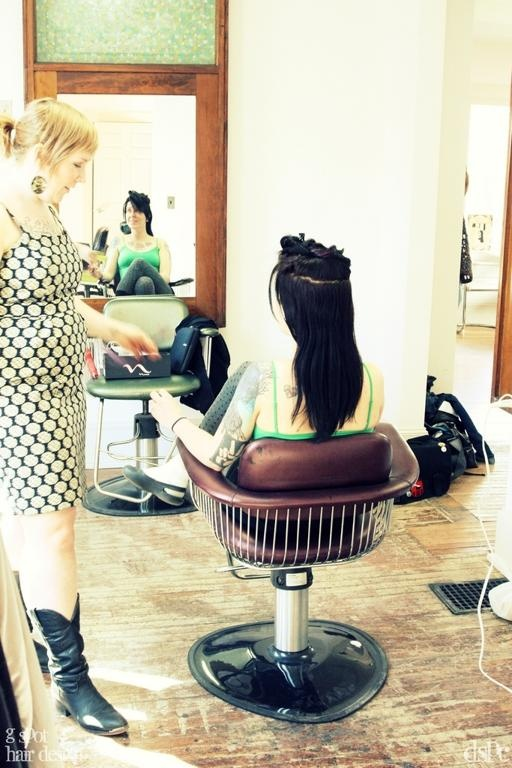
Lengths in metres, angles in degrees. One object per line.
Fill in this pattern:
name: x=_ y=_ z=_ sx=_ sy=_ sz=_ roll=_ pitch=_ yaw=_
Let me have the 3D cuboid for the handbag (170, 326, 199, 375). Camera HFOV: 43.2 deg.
handbag: x=-0.346 y=-0.165 z=3.066 sx=0.065 sy=0.217 sz=0.163 roll=14 pitch=0 yaw=-33

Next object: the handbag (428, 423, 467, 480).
handbag: x=1.026 y=0.369 z=3.491 sx=0.140 sy=0.243 sz=0.207 roll=-12 pitch=24 yaw=-13

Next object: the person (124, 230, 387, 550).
person: x=0.034 y=-0.065 z=1.579 sx=0.515 sy=0.707 sz=0.594 roll=-9 pitch=25 yaw=-20

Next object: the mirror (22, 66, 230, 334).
mirror: x=-0.630 y=-0.896 z=3.429 sx=0.981 sy=1.421 sz=0.035 roll=-6 pitch=31 yaw=-14

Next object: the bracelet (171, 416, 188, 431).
bracelet: x=-0.183 y=0.088 z=1.570 sx=0.027 sy=0.036 sz=0.037 roll=19 pitch=57 yaw=-5

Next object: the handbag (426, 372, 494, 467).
handbag: x=1.183 y=0.238 z=3.856 sx=0.479 sy=0.259 sz=0.625 roll=2 pitch=38 yaw=3

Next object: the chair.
chair: x=-0.170 y=0.277 z=2.271 sx=0.650 sy=0.727 sz=1.793 roll=-2 pitch=15 yaw=-16
